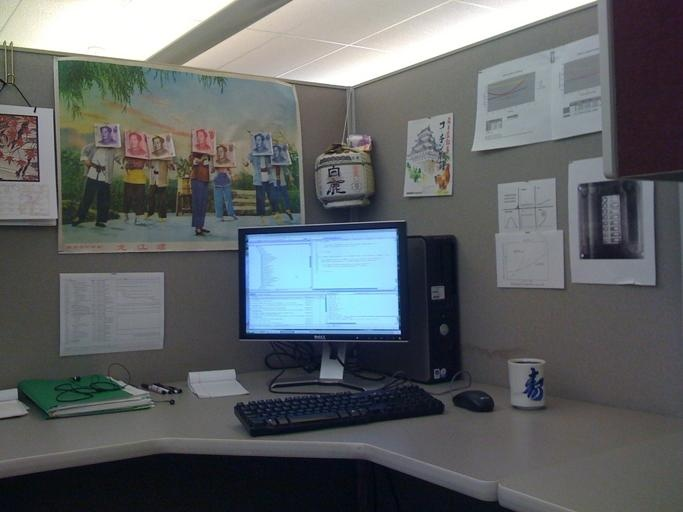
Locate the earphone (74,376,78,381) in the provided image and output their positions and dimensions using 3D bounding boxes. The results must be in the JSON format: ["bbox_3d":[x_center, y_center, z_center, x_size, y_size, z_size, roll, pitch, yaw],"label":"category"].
[{"bbox_3d":[-0.748,0.344,1.526,0.015,0.006,0.011,2,5,-30],"label":"earphone"}]

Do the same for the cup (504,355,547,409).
[{"bbox_3d":[0.486,0.339,1.425,0.093,0.112,0.102,2,-7,0],"label":"cup"}]

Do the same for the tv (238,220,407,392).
[{"bbox_3d":[-0.057,0.148,1.683,0.480,0.477,0.171,-1,-8,8],"label":"tv"}]
